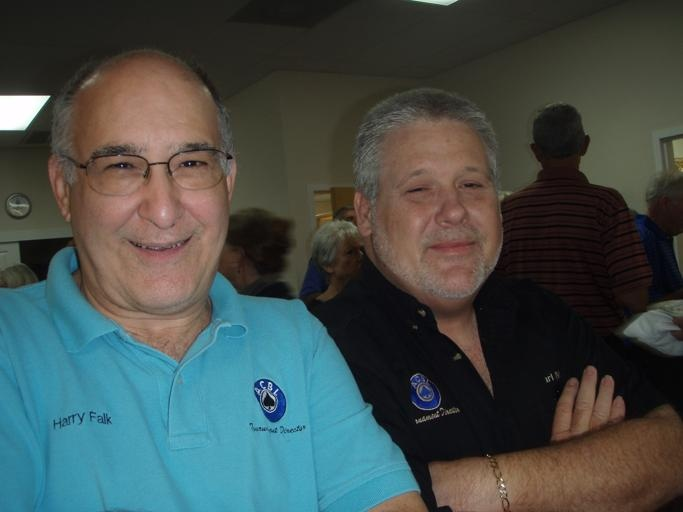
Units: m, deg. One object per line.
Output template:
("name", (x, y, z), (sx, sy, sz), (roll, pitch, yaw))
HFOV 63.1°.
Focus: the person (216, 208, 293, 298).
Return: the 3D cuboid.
("person", (-0.575, -0.026, 3.525), (0.517, 0.722, 0.484), (0, 18, -15))
